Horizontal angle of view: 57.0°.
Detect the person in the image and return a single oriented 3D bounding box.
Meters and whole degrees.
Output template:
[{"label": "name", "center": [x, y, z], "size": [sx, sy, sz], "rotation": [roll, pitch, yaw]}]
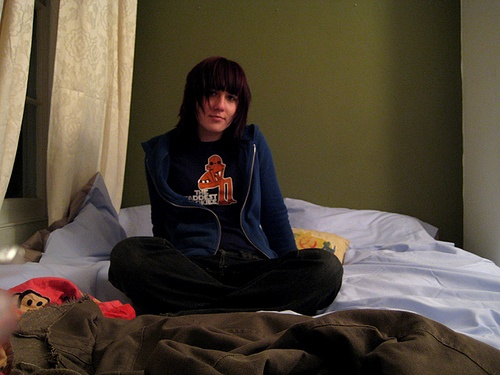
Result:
[{"label": "person", "center": [-0.092, -0.038, 2.003], "size": [0.973, 1.170, 0.910], "rotation": [-3, -8, 26]}]
